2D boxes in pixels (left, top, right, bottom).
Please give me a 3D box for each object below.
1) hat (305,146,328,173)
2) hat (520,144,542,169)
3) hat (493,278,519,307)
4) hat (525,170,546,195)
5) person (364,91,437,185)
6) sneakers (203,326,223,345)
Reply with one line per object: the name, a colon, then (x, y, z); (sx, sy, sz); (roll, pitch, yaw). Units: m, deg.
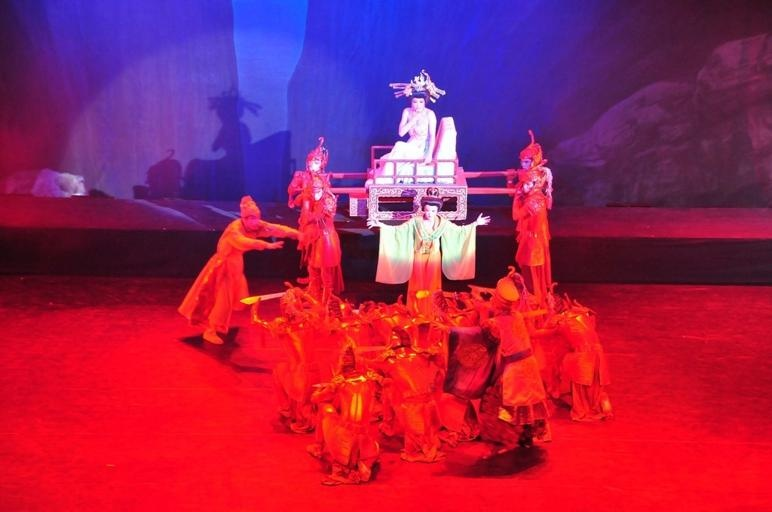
hat: (-0.683, -0.952, 5.845); (0.180, 0.270, 0.299); (1, 3, -10)
hat: (1.450, -0.992, 5.820); (0.185, 0.252, 0.261); (4, 4, 37)
hat: (0.874, 0.253, 4.260); (0.166, 0.201, 0.111); (2, 3, 6)
hat: (1.443, -0.713, 5.769); (0.180, 0.218, 0.224); (8, 7, 2)
person: (0.195, -1.299, 6.626); (0.709, 0.982, 0.443); (1, 3, 1)
sneakers: (-1.548, 0.733, 5.478); (0.212, 0.183, 0.110); (5, 2, 0)
